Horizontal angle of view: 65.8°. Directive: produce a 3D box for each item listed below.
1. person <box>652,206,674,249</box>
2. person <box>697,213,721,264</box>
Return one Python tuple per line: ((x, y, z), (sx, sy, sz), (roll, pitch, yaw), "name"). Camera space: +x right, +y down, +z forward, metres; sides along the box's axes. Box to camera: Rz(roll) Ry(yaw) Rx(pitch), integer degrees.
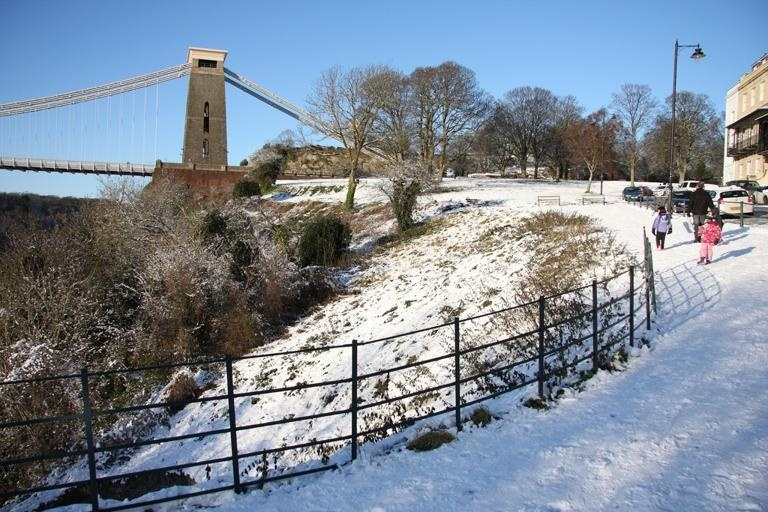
((9.655, -0.997, 20.625), (0.530, 1.466, 1.599), (-4, 4, 25), "person")
((10.345, -0.621, 18.893), (0.515, 1.408, 2.456), (-3, 5, 32), "person")
